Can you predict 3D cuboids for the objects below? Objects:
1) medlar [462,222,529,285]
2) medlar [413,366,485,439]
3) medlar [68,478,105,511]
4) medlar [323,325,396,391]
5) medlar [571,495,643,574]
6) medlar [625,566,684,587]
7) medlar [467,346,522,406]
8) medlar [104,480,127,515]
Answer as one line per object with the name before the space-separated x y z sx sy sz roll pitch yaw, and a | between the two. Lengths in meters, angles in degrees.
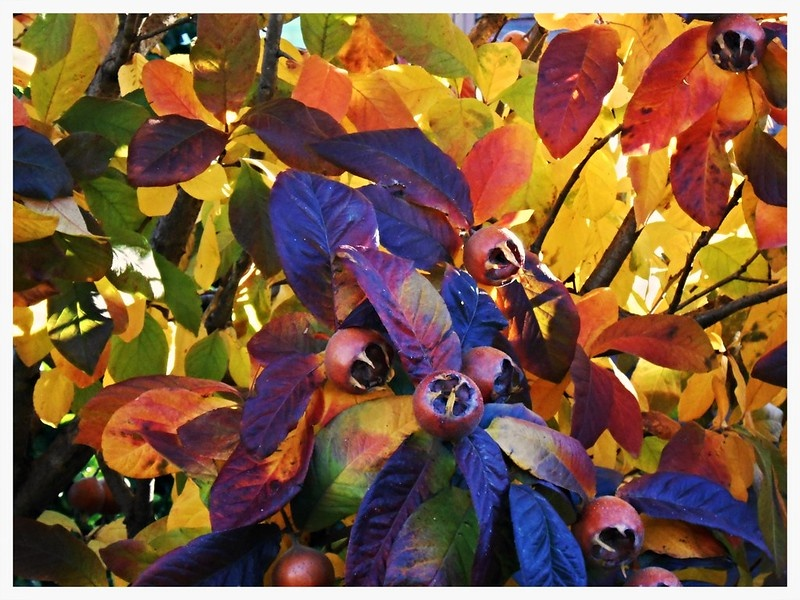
medlar | 0.068 -0.030 0.691 0.044 0.041 0.044 5 -5 7
medlar | 0.031 0.065 0.602 0.039 0.045 0.050 0 -4 -2
medlar | -0.344 0.215 1.066 0.030 0.032 0.041 -2 -19 -8
medlar | -0.026 0.039 0.618 0.033 0.035 0.043 -1 0 -12
medlar | 0.135 0.151 0.635 0.038 0.038 0.048 -1 5 17
medlar | 0.167 0.184 0.640 0.020 0.012 0.018 -8 -4 40
medlar | 0.057 0.050 0.664 0.037 0.030 0.030 33 9 20
medlar | -0.329 0.229 1.117 0.028 0.035 0.100 7 -6 -16
